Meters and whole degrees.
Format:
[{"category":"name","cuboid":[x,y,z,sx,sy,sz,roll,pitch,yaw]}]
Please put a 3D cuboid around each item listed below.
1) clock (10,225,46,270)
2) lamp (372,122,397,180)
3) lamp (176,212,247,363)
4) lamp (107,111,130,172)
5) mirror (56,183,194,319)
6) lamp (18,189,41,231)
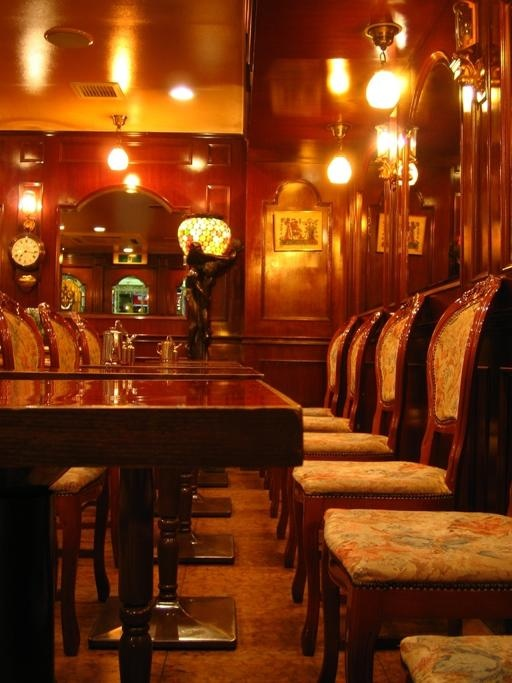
[{"category":"clock","cuboid":[-2.128,-0.873,5.720,0.348,0.583,0.072,2,-2,5]},{"category":"lamp","cuboid":[0.772,-1.154,3.653,0.111,0.416,0.348,0,-3,9]},{"category":"lamp","cuboid":[-0.329,-0.432,4.206,0.411,1.138,1.143,1,-4,-7]},{"category":"lamp","cuboid":[-1.241,-1.764,5.504,0.189,0.541,0.627,1,-4,-13]},{"category":"mirror","cuboid":[-2.283,-1.567,10.612,2.034,2.569,0.107,0,25,-5]},{"category":"lamp","cuboid":[-2.141,-1.249,5.760,0.233,0.419,0.061,0,-3,4]}]
